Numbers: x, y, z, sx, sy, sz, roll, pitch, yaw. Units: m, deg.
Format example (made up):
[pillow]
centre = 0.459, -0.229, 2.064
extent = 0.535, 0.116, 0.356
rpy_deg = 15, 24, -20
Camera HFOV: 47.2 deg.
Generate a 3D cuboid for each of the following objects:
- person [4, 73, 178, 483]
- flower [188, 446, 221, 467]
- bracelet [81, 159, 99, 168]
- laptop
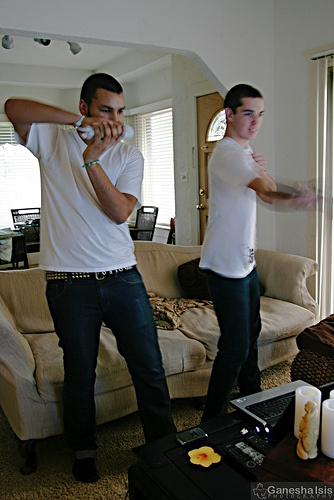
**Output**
[person]
centre = -0.208, 0.138, 1.089
extent = 0.343, 1.074, 0.302
rpy_deg = -1, 4, 22
[flower]
centre = 0.080, 0.441, 0.813
extent = 0.068, 0.015, 0.067
rpy_deg = -3, 4, -6
[bracelet]
centre = -0.203, -0.217, 0.975
extent = 0.027, 0.007, 0.027
rpy_deg = -20, 4, 43
[laptop]
centre = 0.282, 0.348, 0.961
extent = 0.211, 0.142, 0.178
rpy_deg = -4, 9, -32
